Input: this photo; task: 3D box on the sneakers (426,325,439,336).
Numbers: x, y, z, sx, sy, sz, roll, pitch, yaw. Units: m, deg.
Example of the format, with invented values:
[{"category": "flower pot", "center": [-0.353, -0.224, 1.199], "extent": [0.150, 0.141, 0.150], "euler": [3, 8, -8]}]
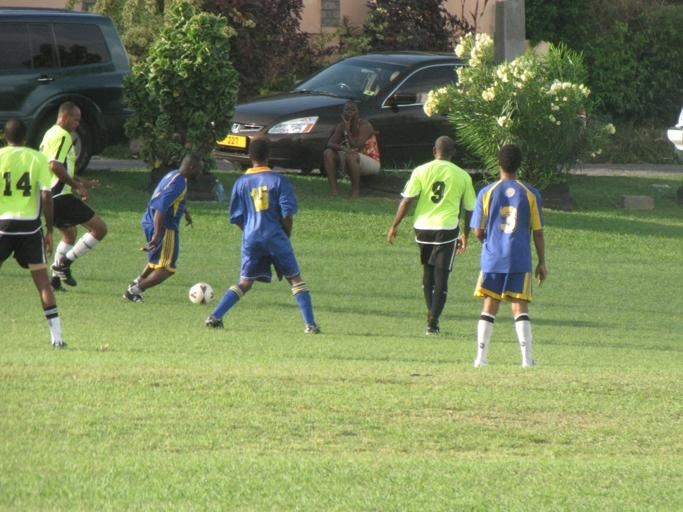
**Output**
[{"category": "sneakers", "center": [1.040, 0.849, 15.729], "extent": [0.063, 0.078, 0.191], "euler": [4, 5, 38]}]

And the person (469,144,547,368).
[{"category": "person", "center": [1.750, 0.007, 14.694], "extent": [0.822, 2.251, 0.984], "euler": [5, 13, 8]}]

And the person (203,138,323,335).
[{"category": "person", "center": [-0.860, -0.242, 15.525], "extent": [1.145, 2.020, 0.730], "euler": [3, 12, -2]}]

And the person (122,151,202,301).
[{"category": "person", "center": [-2.148, -0.343, 16.838], "extent": [0.823, 1.723, 1.068], "euler": [2, 12, -5]}]

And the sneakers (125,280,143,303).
[{"category": "sneakers", "center": [-2.454, 0.419, 16.542], "extent": [0.224, 0.239, 0.259], "euler": [1, 13, -10]}]

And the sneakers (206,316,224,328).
[{"category": "sneakers", "center": [-1.388, 0.743, 15.413], "extent": [0.187, 0.091, 0.105], "euler": [22, -3, -38]}]

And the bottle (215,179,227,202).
[{"category": "bottle", "center": [-1.978, -1.056, 22.884], "extent": [0.047, 0.399, 0.396], "euler": [-8, 5, 14]}]

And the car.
[{"category": "car", "center": [0.093, -2.503, 24.055], "extent": [4.241, 1.308, 1.940], "euler": [-2, 6, -35]}]

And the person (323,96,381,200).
[{"category": "person", "center": [0.118, -1.741, 22.863], "extent": [0.741, 1.614, 0.994], "euler": [9, 14, 25]}]

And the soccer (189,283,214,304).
[{"category": "soccer", "center": [-1.664, 0.453, 16.558], "extent": [0.219, 0.211, 0.265], "euler": [3, 1, -1]}]

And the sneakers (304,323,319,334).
[{"category": "sneakers", "center": [-0.318, 0.819, 15.419], "extent": [0.081, 0.079, 0.173], "euler": [3, 3, 20]}]
